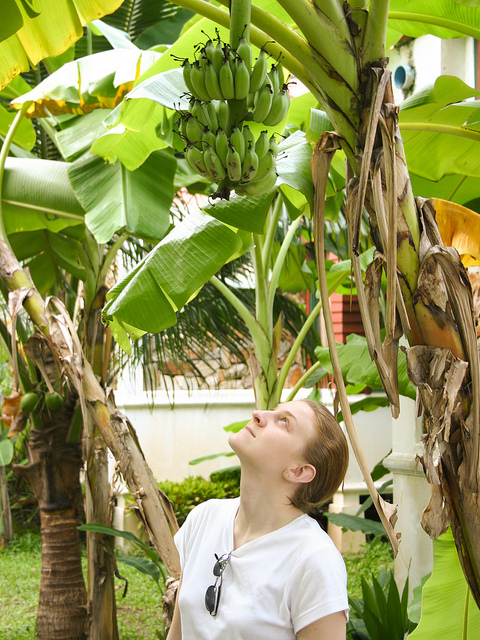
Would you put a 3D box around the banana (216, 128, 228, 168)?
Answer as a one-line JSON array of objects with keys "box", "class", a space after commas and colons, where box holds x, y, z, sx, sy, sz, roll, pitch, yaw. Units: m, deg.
[{"box": [-0.045, -0.418, 1.852, 0.021, 0.097, 0.031, -3, 2, -2], "class": "banana"}]

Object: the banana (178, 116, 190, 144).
[{"box": [-0.141, -0.487, 1.940, 0.021, 0.076, 0.020, 10, 19, 19], "class": "banana"}]

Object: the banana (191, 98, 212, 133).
[{"box": [-0.096, -0.507, 1.905, 0.022, 0.088, 0.031, -12, 23, 8], "class": "banana"}]

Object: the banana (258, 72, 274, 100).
[{"box": [0.060, -0.591, 1.930, 0.021, 0.089, 0.033, 3, -42, 0], "class": "banana"}]

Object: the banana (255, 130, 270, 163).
[{"box": [0.056, -0.450, 1.981, 0.025, 0.095, 0.033, 5, -15, -17], "class": "banana"}]

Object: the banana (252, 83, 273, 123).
[{"box": [0.052, -0.547, 1.931, 0.050, 0.056, 0.080, -4, -6, -26], "class": "banana"}]

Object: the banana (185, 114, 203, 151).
[{"box": [-0.115, -0.467, 1.912, 0.031, 0.106, 0.027, 4, 18, 36], "class": "banana"}]

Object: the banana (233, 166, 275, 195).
[{"box": [0.039, -0.357, 2.022, 0.067, 0.032, 0.076, -24, -27, -7], "class": "banana"}]

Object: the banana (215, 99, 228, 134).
[{"box": [-0.047, -0.508, 1.899, 0.026, 0.088, 0.023, 7, 18, 24], "class": "banana"}]

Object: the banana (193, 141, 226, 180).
[{"box": [-0.077, -0.379, 1.869, 0.029, 0.109, 0.039, -23, 17, 5], "class": "banana"}]

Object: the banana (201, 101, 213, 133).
[{"box": [-0.082, -0.506, 1.900, 0.018, 0.081, 0.020, -21, 18, 4], "class": "banana"}]

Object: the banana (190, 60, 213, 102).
[{"box": [-0.094, -0.579, 1.866, 0.039, 0.125, 0.031, -6, 17, 13], "class": "banana"}]

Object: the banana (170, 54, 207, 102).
[{"box": [-0.138, -0.598, 1.900, 0.042, 0.124, 0.043, 6, 20, 33], "class": "banana"}]

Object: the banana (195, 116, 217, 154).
[{"box": [-0.084, -0.461, 1.901, 0.041, 0.141, 0.040, -15, -27, 21], "class": "banana"}]

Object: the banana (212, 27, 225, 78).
[{"box": [-0.057, -0.654, 1.875, 0.024, 0.111, 0.038, 3, -10, -5], "class": "banana"}]

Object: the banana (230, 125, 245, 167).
[{"box": [-0.008, -0.418, 1.858, 0.032, 0.134, 0.036, -11, -36, 13], "class": "banana"}]

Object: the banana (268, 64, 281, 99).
[{"box": [0.088, -0.616, 1.970, 0.033, 0.100, 0.023, -9, 3, -44], "class": "banana"}]
